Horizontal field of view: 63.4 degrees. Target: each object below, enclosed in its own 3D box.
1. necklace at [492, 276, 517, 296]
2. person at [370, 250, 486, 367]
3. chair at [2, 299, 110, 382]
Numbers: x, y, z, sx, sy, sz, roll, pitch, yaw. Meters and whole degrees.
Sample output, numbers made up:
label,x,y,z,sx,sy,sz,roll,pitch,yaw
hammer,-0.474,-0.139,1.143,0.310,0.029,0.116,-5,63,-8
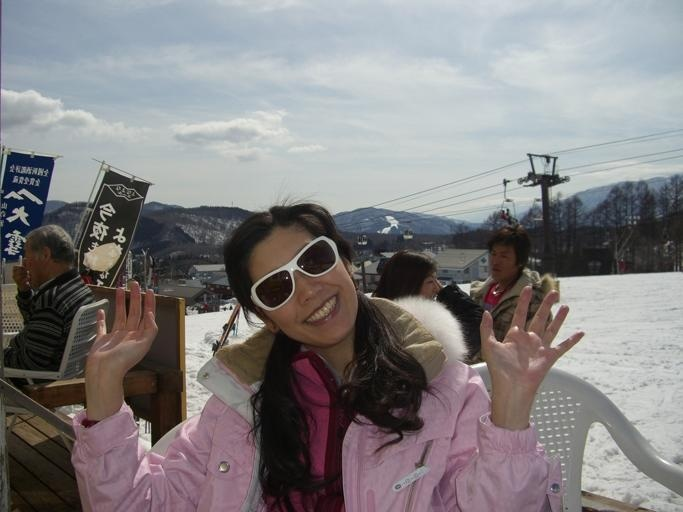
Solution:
label,x,y,z,sx,sy,sz,roll,pitch,yaw
necklace,1.490,0.264,5.093,0.156,0.145,0.124,1,-17,-20
person,0.648,0.266,4.141,0.647,0.387,0.898,0,25,-3
chair,-1.912,0.578,3.721,0.521,0.486,0.610,6,0,2
